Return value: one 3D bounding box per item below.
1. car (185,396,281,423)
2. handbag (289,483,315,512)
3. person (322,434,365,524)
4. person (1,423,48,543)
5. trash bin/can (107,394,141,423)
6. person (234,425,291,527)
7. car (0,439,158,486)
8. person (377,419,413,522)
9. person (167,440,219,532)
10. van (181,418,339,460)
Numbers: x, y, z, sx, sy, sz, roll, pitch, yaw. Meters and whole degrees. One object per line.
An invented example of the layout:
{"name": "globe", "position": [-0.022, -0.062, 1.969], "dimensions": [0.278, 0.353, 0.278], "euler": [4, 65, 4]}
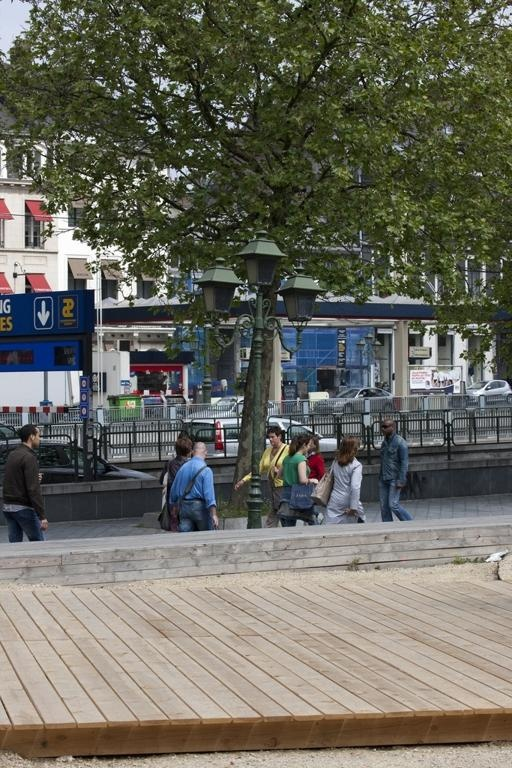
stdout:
{"name": "car", "position": [-0.591, 0.668, 32.388], "dimensions": [1.746, 0.663, 0.865], "euler": [1, -1, -10]}
{"name": "handbag", "position": [0.443, 1.132, 12.585], "dimensions": [0.247, 0.273, 0.110], "euler": [-2, 2, -1]}
{"name": "person", "position": [0.873, 0.963, 12.664], "dimensions": [0.372, 0.884, 0.505], "euler": [-1, 2, 3]}
{"name": "person", "position": [-2.020, 0.873, 10.973], "dimensions": [0.329, 1.010, 0.435], "euler": [-2, 2, -10]}
{"name": "trash bin/can", "position": [-3.476, 0.637, 33.389], "dimensions": [0.634, 0.578, 0.351], "euler": [1, -4, -34]}
{"name": "person", "position": [0.153, 1.106, 13.516], "dimensions": [0.552, 1.274, 0.368], "euler": [0, 10, 19]}
{"name": "car", "position": [-2.987, 1.267, 20.163], "dimensions": [2.250, 0.783, 1.029], "euler": [0, -3, -17]}
{"name": "person", "position": [1.592, 1.030, 14.683], "dimensions": [0.324, 1.224, 1.053], "euler": [-1, 1, 5]}
{"name": "person", "position": [-0.578, 0.949, 11.551], "dimensions": [0.404, 0.811, 0.734], "euler": [-2, 1, -7]}
{"name": "van", "position": [-0.410, 1.070, 27.496], "dimensions": [2.539, 0.851, 1.219], "euler": [-1, -1, -26]}
